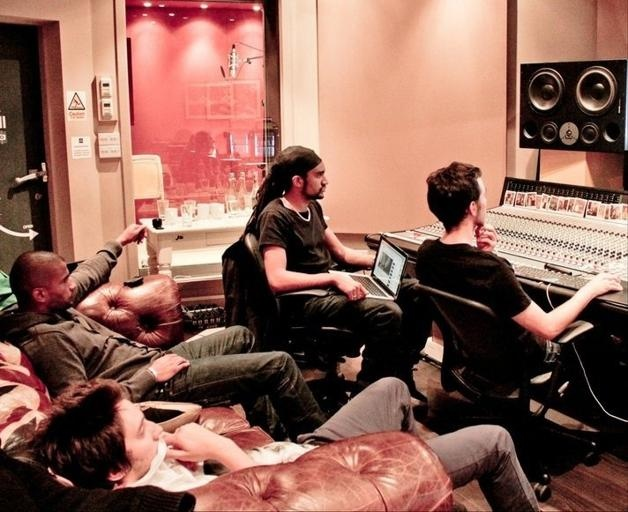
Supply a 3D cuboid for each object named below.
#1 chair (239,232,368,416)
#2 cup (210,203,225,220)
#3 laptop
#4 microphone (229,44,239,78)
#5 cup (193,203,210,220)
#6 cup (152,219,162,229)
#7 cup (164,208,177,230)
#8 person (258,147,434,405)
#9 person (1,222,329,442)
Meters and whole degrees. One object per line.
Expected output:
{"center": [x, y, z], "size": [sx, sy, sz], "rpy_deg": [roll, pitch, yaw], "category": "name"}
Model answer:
{"center": [0.022, 0.366, 3.002], "size": [0.789, 1.090, 0.820], "rpy_deg": [-7, 6, -7], "category": "chair"}
{"center": [-0.827, -0.387, 4.461], "size": [0.127, 0.130, 0.126], "rpy_deg": [1, -1, 0], "category": "cup"}
{"center": [0.378, 0.096, 2.858], "size": [0.291, 0.337, 0.446], "rpy_deg": [2, 17, -28], "category": "laptop"}
{"center": [-0.703, -1.711, 4.466], "size": [0.100, 0.284, 0.021], "rpy_deg": [-8, 12, -30], "category": "microphone"}
{"center": [-0.958, -0.372, 4.342], "size": [0.134, 0.138, 0.120], "rpy_deg": [-2, 12, -15], "category": "cup"}
{"center": [-1.236, -0.252, 4.030], "size": [0.071, 0.074, 0.079], "rpy_deg": [2, -6, -36], "category": "cup"}
{"center": [-1.165, -0.310, 4.152], "size": [0.106, 0.162, 0.166], "rpy_deg": [1, 8, -10], "category": "cup"}
{"center": [0.178, 0.142, 3.016], "size": [0.978, 1.469, 0.735], "rpy_deg": [-2, 12, 24], "category": "person"}
{"center": [-0.651, 0.280, 2.298], "size": [1.162, 0.697, 0.896], "rpy_deg": [2, 4, -13], "category": "person"}
